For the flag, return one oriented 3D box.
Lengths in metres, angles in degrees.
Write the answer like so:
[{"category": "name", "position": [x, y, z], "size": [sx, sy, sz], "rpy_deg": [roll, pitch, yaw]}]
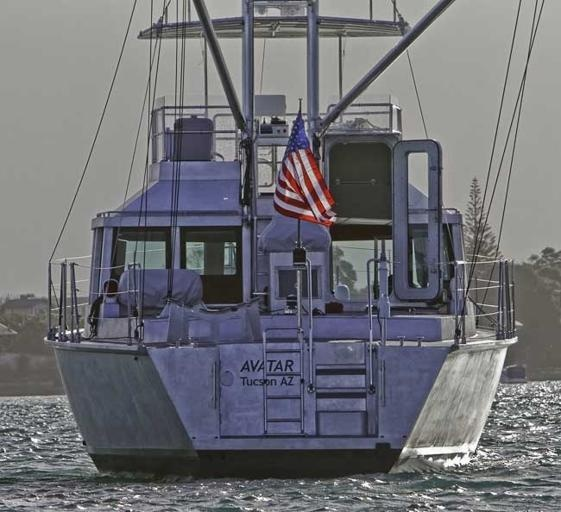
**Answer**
[{"category": "flag", "position": [0.355, -1.422, 32.734], "size": [0.991, 1.850, 0.386], "rpy_deg": [0, -2, -1]}]
